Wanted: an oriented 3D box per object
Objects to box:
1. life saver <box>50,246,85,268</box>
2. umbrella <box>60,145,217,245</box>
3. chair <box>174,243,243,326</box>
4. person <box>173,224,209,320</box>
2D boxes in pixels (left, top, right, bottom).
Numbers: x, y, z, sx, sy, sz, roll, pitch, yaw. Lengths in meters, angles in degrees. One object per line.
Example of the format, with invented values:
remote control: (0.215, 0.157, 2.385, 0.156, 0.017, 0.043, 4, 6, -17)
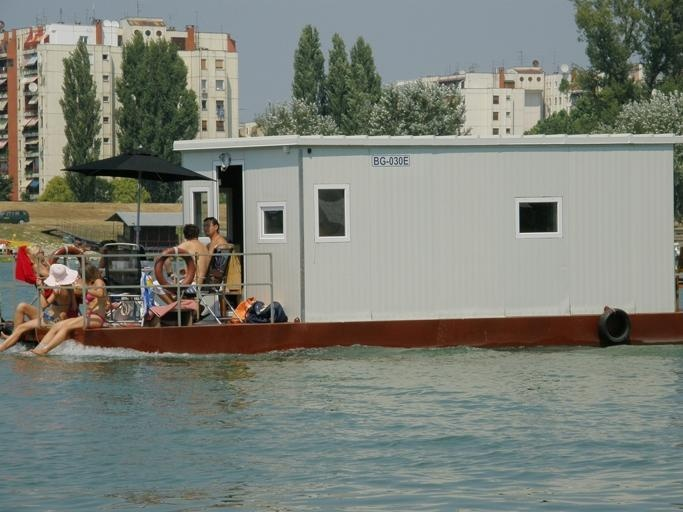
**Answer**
life saver: (-6.996, -0.164, 43.244, 0.664, 0.728, 0.583, 5, -1, -29)
umbrella: (-5.135, -1.603, 42.862, 3.606, 2.370, 4.069, 2, -1, 6)
chair: (-3.266, 0.433, 41.836, 1.292, 2.334, 1.350, -3, 9, -35)
person: (-3.619, 0.292, 41.650, 0.768, 2.525, 0.805, -4, 7, -25)
